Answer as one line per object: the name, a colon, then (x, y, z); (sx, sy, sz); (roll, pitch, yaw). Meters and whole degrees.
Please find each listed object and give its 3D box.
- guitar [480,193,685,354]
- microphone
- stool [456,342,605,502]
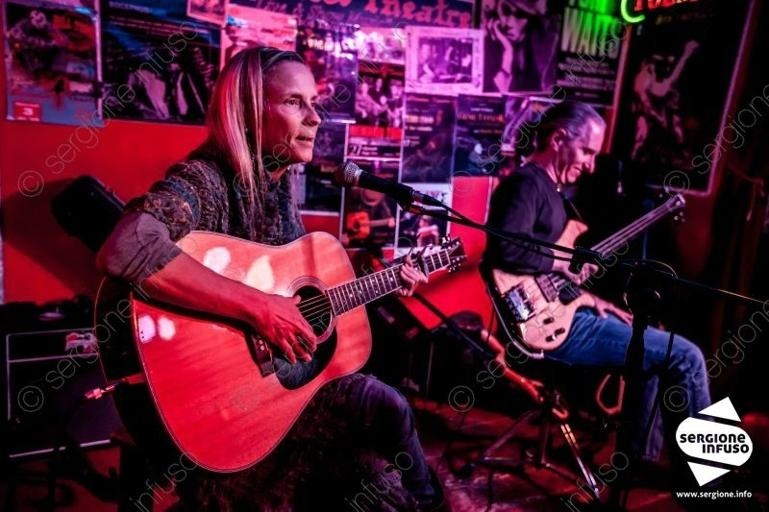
guitar: (1.317, 0.027, 3.972); (1.622, 0.668, 0.212); (-36, 8, -19)
microphone: (-0.006, -0.398, 3.330); (0.620, 0.152, 0.127); (20, -9, -2)
stool: (0.861, 0.981, 4.102); (0.882, 1.072, 0.773); (2, -1, 2)
